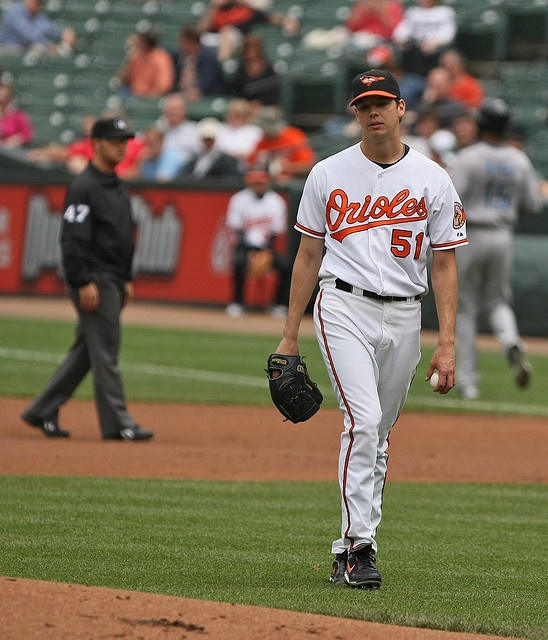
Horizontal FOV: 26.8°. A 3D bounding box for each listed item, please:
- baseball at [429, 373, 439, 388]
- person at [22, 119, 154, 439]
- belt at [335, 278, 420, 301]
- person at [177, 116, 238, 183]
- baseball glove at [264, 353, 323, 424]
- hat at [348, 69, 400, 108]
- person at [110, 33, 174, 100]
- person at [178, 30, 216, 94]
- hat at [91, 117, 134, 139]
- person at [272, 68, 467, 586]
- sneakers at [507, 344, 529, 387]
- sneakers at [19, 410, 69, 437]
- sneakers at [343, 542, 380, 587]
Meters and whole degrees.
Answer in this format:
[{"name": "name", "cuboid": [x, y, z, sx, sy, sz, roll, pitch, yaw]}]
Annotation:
[{"name": "baseball", "cuboid": [0.549, 0.211, 3.996, 0.057, 0.042, 0.047, 0, -10, 1]}, {"name": "person", "cuboid": [-0.945, -0.189, 5.875, 0.633, 1.680, 0.411, 0, 7, -6]}, {"name": "belt", "cuboid": [0.391, -0.105, 4.093, 0.332, 0.085, 0.132, -2, 6, -24]}, {"name": "person", "cuboid": [-0.783, -2.014, 13.664, 0.697, 0.761, 1.459, 0, 6, -4]}, {"name": "baseball glove", "cuboid": [0.049, 0.256, 4.323, 0.202, 0.282, 0.229, -12, 15, -18]}, {"name": "hat", "cuboid": [0.349, -0.818, 4.071, 0.127, 0.085, 0.166, -4, 1, 17]}, {"name": "person", "cuboid": [-1.816, -3.725, 16.999, 0.393, 0.938, 1.271, -4, 7, -33]}, {"name": "person", "cuboid": [-1.119, -3.675, 16.514, 0.601, 1.094, 0.901, -1, 6, -12]}, {"name": "hat", "cuboid": [-0.807, -0.975, 5.877, 0.246, 0.116, 0.152, -4, 7, -35]}, {"name": "person", "cuboid": [0.297, 0.008, 4.038, 0.701, 1.777, 0.498, 1, 7, 7]}, {"name": "sneakers", "cuboid": [1.574, 0.311, 7.594, 0.126, 0.289, 0.147, -15, -13, 22]}, {"name": "sneakers", "cuboid": [-1.185, 0.565, 6.021, 0.274, 0.106, 0.087, 28, 6, -27]}, {"name": "sneakers", "cuboid": [0.296, 0.841, 3.911, 0.121, 0.133, 0.113, 1, 6, 3]}]
